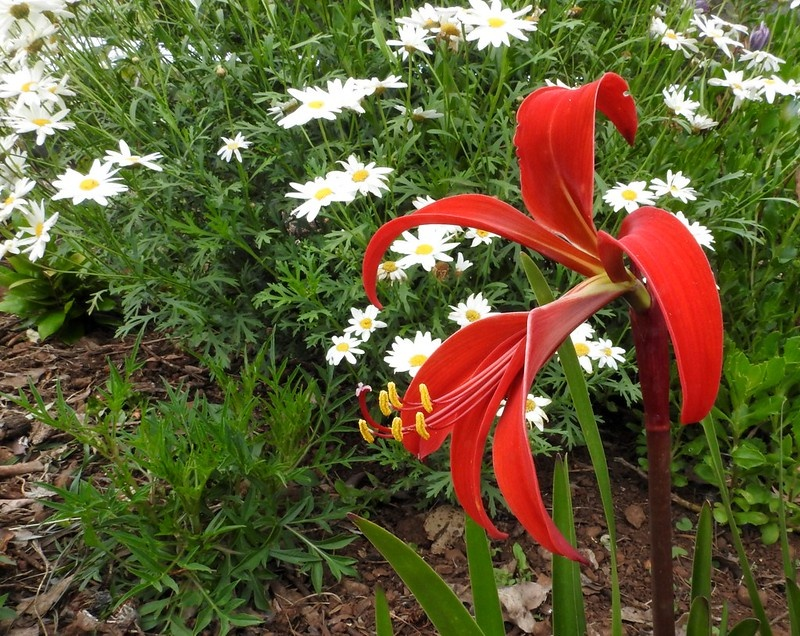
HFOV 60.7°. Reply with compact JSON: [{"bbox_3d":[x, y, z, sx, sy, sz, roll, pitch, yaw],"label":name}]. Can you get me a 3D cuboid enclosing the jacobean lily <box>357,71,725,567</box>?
[{"bbox_3d":[0.254,0.021,1.199,0.588,0.719,0.531,-18,29,-4],"label":"jacobean lily"}]
